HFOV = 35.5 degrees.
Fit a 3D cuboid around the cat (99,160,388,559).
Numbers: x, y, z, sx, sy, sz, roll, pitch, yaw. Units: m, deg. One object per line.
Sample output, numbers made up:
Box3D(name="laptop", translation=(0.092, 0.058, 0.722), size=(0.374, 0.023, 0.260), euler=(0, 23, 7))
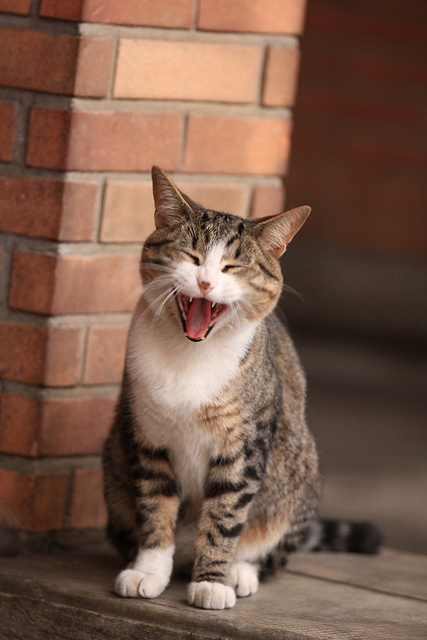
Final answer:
Box3D(name="cat", translation=(0.079, 0.190, 1.616), size=(0.692, 0.798, 0.741), euler=(1, -11, 19))
